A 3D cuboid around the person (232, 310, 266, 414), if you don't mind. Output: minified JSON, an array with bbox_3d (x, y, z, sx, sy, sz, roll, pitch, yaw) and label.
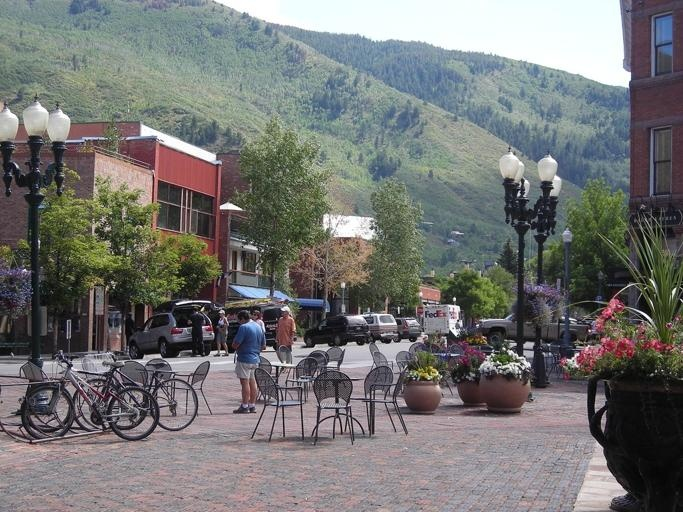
[{"bbox_3d":[-1.950,2.145,19.038,0.546,2.019,0.676,4,1,-23],"label":"person"}]

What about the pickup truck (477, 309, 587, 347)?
[{"bbox_3d":[9.385,3.340,42.104,6.250,2.412,2.856,1,-4,6],"label":"pickup truck"}]

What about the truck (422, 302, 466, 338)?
[{"bbox_3d":[6.511,4.358,60.324,2.053,2.306,3.793,0,1,15],"label":"truck"}]

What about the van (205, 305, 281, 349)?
[{"bbox_3d":[-4.259,2.523,43.047,3.875,2.609,2.492,3,-6,-9],"label":"van"}]

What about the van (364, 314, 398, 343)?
[{"bbox_3d":[2.375,4.255,56.360,1.228,1.079,2.192,0,2,-39],"label":"van"}]

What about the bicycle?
[{"bbox_3d":[-4.133,2.434,16.274,2.767,1.436,1.545,3,-7,-21],"label":"bicycle"}]
